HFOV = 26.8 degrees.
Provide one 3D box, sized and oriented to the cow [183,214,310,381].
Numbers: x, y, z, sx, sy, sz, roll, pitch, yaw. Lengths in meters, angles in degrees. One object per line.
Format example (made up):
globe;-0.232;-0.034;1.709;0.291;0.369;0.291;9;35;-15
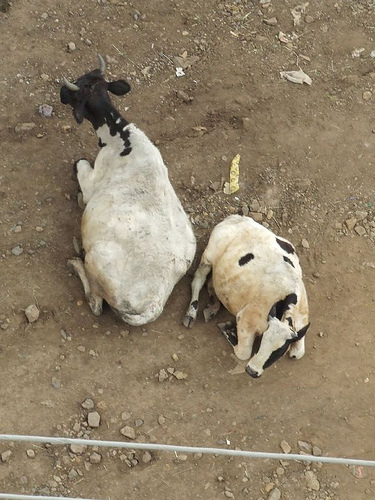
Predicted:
cow;0.776;0.508;9.274;1.515;1.086;2.260;-7;44;-12

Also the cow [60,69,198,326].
cow;-0.818;-0.585;9.359;1.495;1.287;2.980;8;66;-39
